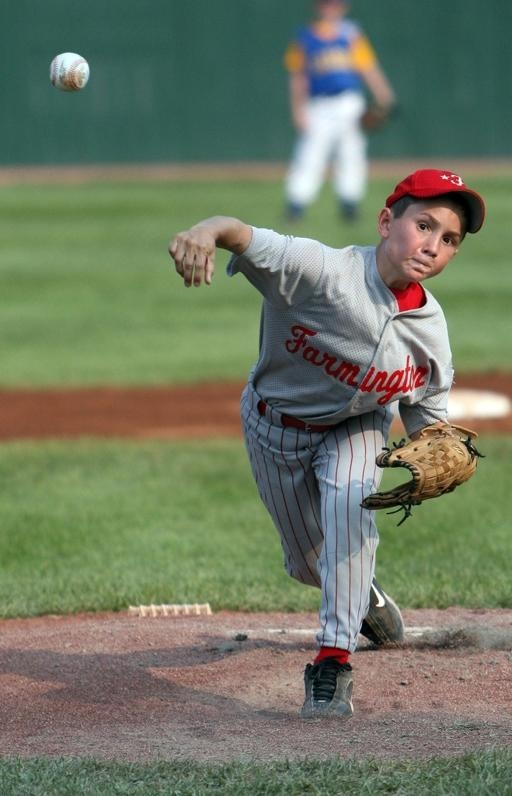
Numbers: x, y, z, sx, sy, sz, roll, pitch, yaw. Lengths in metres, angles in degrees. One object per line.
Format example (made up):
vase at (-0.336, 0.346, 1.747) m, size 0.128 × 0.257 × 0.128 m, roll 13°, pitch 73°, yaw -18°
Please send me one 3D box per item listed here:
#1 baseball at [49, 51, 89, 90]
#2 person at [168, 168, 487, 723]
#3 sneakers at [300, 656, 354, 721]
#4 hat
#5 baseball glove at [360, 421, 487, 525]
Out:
baseball at (-0.770, -1.342, 4.151) m, size 0.149 × 0.158 × 0.225 m, roll -3°, pitch 11°, yaw -11°
person at (0.221, 0.124, 2.546) m, size 0.672 × 1.371 × 0.714 m, roll 1°, pitch 12°, yaw 11°
sneakers at (0.180, 0.720, 2.519) m, size 0.124 × 0.139 × 0.142 m, roll -1°, pitch 11°, yaw 4°
hat at (0.457, -0.503, 2.568) m, size 0.238 × 0.162 × 0.303 m, roll 0°, pitch 11°, yaw 8°
baseball glove at (0.432, 0.177, 2.678) m, size 0.373 × 0.207 × 0.156 m, roll -28°, pitch 18°, yaw -17°
